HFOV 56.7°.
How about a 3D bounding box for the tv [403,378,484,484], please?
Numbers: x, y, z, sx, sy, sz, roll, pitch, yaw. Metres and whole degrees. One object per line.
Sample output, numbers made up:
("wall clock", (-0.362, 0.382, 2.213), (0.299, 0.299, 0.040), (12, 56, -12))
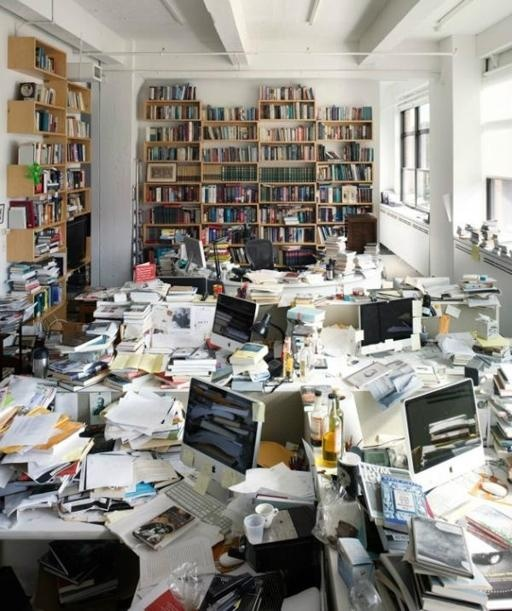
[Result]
("tv", (0.681, 0.467, 1.707), (0.359, 0.259, 0.058), (-22, 10, -33))

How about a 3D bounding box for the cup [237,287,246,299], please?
("cup", (-0.113, -0.100, 3.808), (0.112, 0.103, 0.074), (1, -3, -1))

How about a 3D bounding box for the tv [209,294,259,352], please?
("tv", (-0.139, 0.093, 2.885), (0.352, 0.321, 0.086), (18, 12, 30))

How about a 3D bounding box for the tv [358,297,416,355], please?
("tv", (0.847, 0.139, 3.067), (0.378, 0.282, 0.054), (-5, 9, -20))

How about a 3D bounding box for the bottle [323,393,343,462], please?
("bottle", (0.321, 0.503, 1.999), (0.084, 0.279, 0.182), (0, 9, 8))

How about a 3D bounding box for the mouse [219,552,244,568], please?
("mouse", (-0.088, 0.845, 1.566), (0.052, 0.013, 0.038), (1, 18, 2))

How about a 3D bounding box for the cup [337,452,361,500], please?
("cup", (0.301, 0.574, 1.594), (0.072, 0.111, 0.122), (0, 6, 0))

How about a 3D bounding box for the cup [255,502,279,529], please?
("cup", (0.037, 0.701, 1.598), (0.054, 0.054, 0.067), (2, 12, 41))

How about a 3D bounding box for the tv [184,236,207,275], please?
("tv", (-0.671, -0.533, 5.180), (0.166, 0.421, 0.466), (-15, 20, -25))

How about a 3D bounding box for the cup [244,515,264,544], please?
("cup", (-0.006, 0.711, 1.513), (0.075, 0.075, 0.073), (-2, 3, 0))
